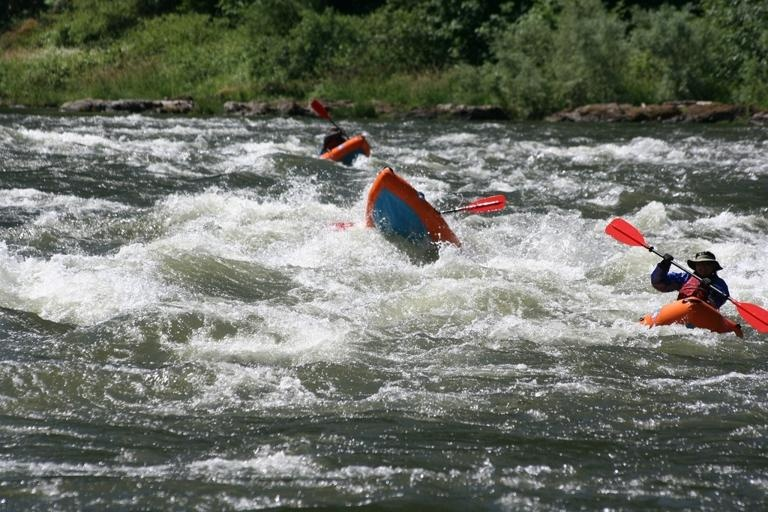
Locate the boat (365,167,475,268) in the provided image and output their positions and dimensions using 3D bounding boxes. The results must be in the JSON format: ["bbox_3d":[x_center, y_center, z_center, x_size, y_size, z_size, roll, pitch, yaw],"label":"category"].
[{"bbox_3d":[0.614,-1.091,34.816,2.229,2.221,0.975,0,20,2],"label":"boat"}]

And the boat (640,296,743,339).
[{"bbox_3d":[7.395,1.444,32.458,2.988,0.820,0.995,-2,-16,0],"label":"boat"}]

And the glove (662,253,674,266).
[{"bbox_3d":[6.877,0.068,32.829,0.242,0.269,0.313,3,19,9],"label":"glove"}]
